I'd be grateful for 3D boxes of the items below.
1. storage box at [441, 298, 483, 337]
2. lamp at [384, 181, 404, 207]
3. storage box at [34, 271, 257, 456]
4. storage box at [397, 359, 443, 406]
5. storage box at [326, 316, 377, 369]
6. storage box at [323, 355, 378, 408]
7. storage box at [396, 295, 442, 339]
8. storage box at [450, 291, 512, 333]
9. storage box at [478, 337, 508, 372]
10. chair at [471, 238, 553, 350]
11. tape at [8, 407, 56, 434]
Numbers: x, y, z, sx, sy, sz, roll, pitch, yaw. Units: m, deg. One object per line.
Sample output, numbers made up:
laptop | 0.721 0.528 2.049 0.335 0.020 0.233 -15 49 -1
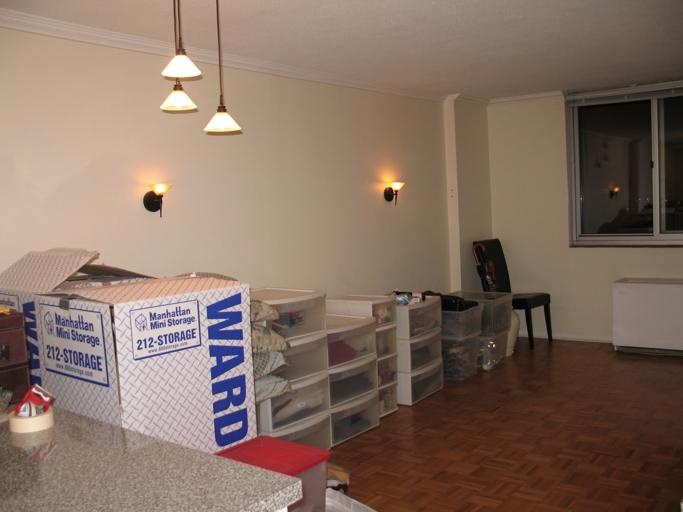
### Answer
storage box | 1.216 0.644 5.172 0.283 0.248 0.428 -1 0 33
lamp | 0.618 -0.710 5.711 0.148 0.239 0.382 1 6 32
storage box | -0.668 0.292 1.757 0.572 0.571 0.574 -3 1 -40
storage box | 0.723 1.174 4.653 0.328 0.248 0.502 -4 0 34
storage box | 0.068 0.654 3.907 0.306 0.256 0.438 4 5 40
storage box | 0.056 0.875 3.956 0.272 0.254 0.513 -4 -1 37
storage box | 0.699 0.558 4.569 0.298 0.288 0.589 -3 0 34
storage box | 1.602 0.558 5.603 0.501 0.312 0.498 -1 1 -44
storage box | 1.624 1.064 5.497 0.184 0.249 0.338 3 6 38
chair | 2.158 0.433 6.387 0.693 1.186 0.760 -9 4 -35
tape | -0.888 0.458 1.444 0.073 0.027 0.072 -1 3 -35
